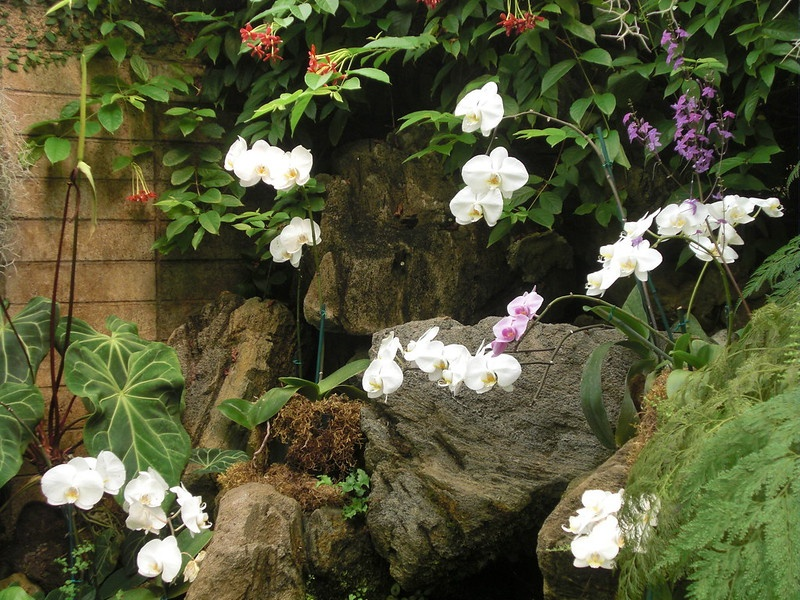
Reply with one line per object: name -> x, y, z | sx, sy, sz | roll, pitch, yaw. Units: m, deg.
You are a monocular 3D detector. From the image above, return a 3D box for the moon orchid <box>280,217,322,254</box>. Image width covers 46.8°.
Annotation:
moon orchid -> -0.421, -0.278, 3.940 | 0.158, 0.154, 0.110 | 4, 13, 22

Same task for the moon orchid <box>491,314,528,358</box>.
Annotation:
moon orchid -> 0.388, 0.121, 3.150 | 0.050, 0.122, 0.121 | 14, 33, -35

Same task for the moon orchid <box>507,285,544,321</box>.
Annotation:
moon orchid -> 0.430, 0.010, 3.185 | 0.104, 0.117, 0.218 | 1, 13, 7

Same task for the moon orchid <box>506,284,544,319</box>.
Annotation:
moon orchid -> 0.440, 0.025, 3.165 | 0.105, 0.117, 0.057 | 6, -22, 33

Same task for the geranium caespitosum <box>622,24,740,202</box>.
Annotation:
geranium caespitosum -> 1.052, -0.714, 3.531 | 0.430, 0.674, 0.823 | 3, 13, 20

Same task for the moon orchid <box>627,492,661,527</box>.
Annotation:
moon orchid -> 0.735, 0.629, 2.772 | 0.049, 0.101, 0.082 | -5, 13, -19

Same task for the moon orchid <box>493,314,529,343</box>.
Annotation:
moon orchid -> 0.370, 0.095, 3.100 | 0.078, 0.110, 0.044 | 6, -17, 38

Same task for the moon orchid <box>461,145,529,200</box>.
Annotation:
moon orchid -> 0.321, -0.438, 3.190 | 0.199, 0.184, 0.160 | -6, 13, -22

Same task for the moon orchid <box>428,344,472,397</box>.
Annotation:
moon orchid -> 0.207, 0.270, 3.291 | 0.075, 0.170, 0.157 | 21, 17, -41

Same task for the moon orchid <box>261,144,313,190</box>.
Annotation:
moon orchid -> -0.453, -0.536, 3.745 | 0.162, 0.187, 0.104 | -8, -6, 6

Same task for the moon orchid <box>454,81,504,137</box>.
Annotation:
moon orchid -> 0.280, -0.672, 3.224 | 0.158, 0.179, 0.155 | -3, 12, -10
